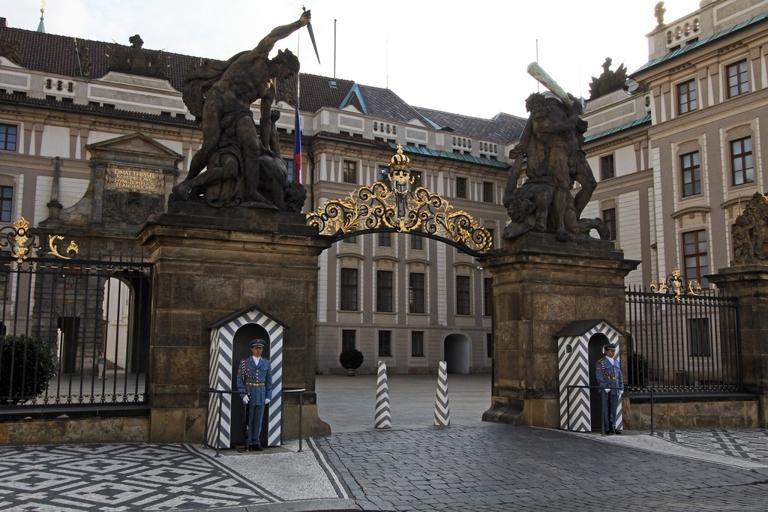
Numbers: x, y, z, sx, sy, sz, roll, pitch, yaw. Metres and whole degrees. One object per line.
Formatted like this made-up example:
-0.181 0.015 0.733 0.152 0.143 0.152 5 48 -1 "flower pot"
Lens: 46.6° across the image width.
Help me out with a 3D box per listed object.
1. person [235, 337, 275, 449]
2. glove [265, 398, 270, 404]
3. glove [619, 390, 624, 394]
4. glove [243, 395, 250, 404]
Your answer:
-2.984 3.195 20.552 0.848 2.440 0.686 -2 10 -26 "person"
-2.742 3.378 20.658 0.093 0.149 0.150 5 -20 -11 "glove"
6.107 3.515 23.023 0.080 0.102 0.144 16 1 8 "glove"
-3.177 3.289 20.316 0.142 0.231 0.191 0 9 -14 "glove"
